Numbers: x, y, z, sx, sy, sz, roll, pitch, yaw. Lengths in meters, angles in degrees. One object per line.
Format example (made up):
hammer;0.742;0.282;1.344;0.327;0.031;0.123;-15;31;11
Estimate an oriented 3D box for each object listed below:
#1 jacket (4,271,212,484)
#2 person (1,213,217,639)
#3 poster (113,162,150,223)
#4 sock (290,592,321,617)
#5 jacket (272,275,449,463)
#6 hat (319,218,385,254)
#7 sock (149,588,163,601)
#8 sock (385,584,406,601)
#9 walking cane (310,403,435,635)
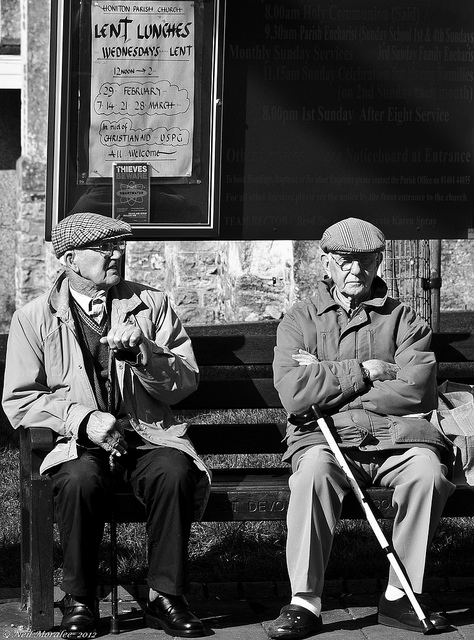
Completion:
jacket;-0.510;0.180;4.376;0.745;0.707;0.541;1;4;-8
person;-0.474;0.376;4.297;0.829;1.539;0.742;1;4;-2
poster;-0.477;-0.571;5.168;0.178;0.328;0.035;1;-23;-6
sock;0.254;0.995;4.073;0.073;0.081;0.099;5;6;6
jacket;0.479;0.196;4.571;0.604;0.762;0.443;-4;-10;6
hat;0.459;-0.334;4.530;0.245;0.137;0.147;2;4;3
sock;-0.302;1.001;4.211;0.048;0.038;0.067;-1;-12;7
sock;0.584;0.994;4.208;0.069;0.029;0.041;-32;38;-12
walking cane;0.512;0.727;4.295;0.077;0.848;0.084;-25;-5;19
